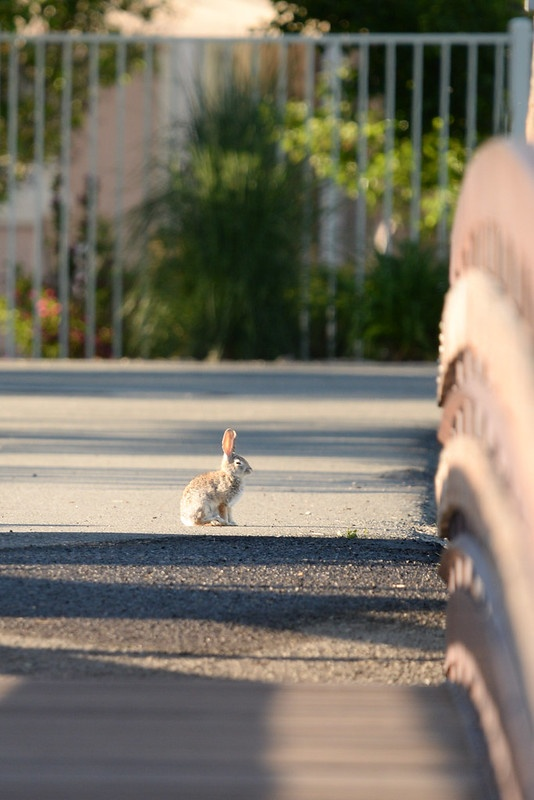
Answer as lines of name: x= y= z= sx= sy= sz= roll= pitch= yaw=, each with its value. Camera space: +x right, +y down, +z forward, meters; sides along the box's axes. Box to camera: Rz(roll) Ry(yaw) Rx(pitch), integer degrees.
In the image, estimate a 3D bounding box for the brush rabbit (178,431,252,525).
brush rabbit: x=-0.191 y=0.333 z=9.197 sx=0.266 sy=0.207 sz=0.504 roll=-6 pitch=57 yaw=9
